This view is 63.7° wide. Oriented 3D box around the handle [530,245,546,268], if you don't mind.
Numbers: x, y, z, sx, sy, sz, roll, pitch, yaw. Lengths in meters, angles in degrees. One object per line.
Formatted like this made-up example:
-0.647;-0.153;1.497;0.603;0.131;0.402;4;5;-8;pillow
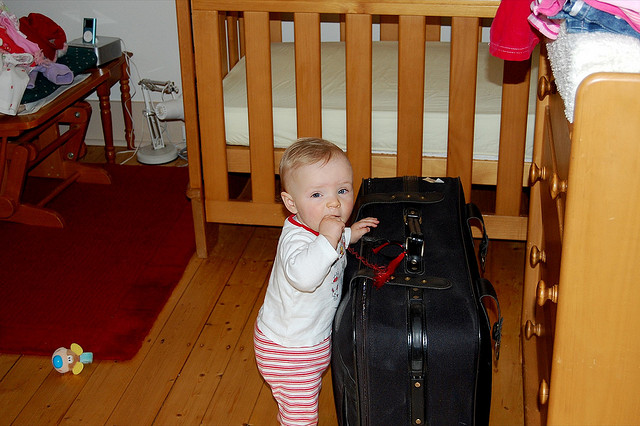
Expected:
0.633;0.123;1.490;0.063;0.064;0.026;2;2;-38;handle

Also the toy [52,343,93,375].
-0.939;0.553;1.952;0.153;0.077;0.125;-6;-3;-10;toy

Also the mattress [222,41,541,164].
0.262;-0.438;2.126;1.003;0.331;1.595;2;22;6;mattress

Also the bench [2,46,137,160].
-1.410;-0.629;2.890;0.724;0.506;0.400;-3;42;4;bench

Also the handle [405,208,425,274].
0.272;0.072;1.519;0.048;0.068;0.186;1;52;4;handle

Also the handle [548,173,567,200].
0.534;-0.060;1.144;0.074;0.033;0.055;-6;14;-23;handle

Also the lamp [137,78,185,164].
-1.014;-0.598;3.298;0.380;0.546;0.277;-4;42;-18;lamp

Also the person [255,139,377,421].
-0.003;0.213;1.539;0.368;1.001;0.485;-4;40;-4;person
